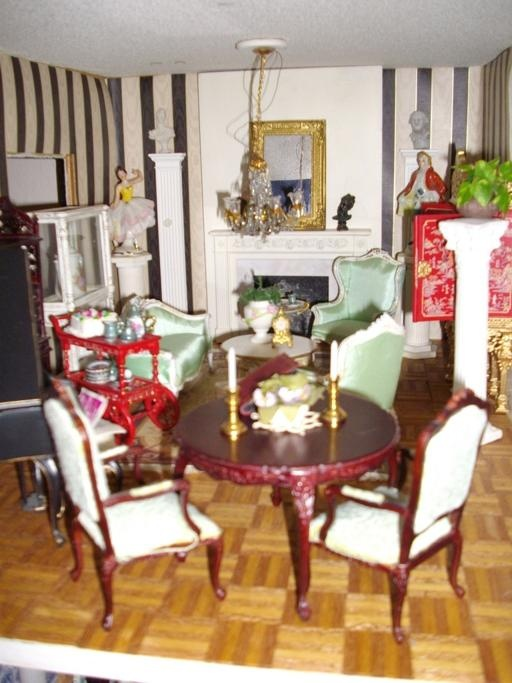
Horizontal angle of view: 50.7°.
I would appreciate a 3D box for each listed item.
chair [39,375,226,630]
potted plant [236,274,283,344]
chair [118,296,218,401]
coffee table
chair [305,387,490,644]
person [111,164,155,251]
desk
[{"bbox_3d":[-0.491,0.607,2.219,0.617,0.915,0.550,-7,14,-39],"label":"chair"},{"bbox_3d":[0.030,-0.262,4.781,0.358,0.496,0.326,-7,10,-18],"label":"potted plant"},{"bbox_3d":[-0.795,0.048,4.727,0.581,0.673,1.029,9,20,7],"label":"chair"},{"bbox_3d":[0.108,0.085,4.717,0.825,0.226,0.743,-2,9,2],"label":"coffee table"},{"bbox_3d":[0.512,0.608,2.129,0.600,0.869,0.637,-5,11,-23],"label":"chair"},{"bbox_3d":[-1.471,-1.572,6.367,0.541,1.041,0.660,-4,10,-11],"label":"person"},{"bbox_3d":[0.156,0.487,2.441,0.941,0.627,0.918,4,18,15],"label":"desk"}]
